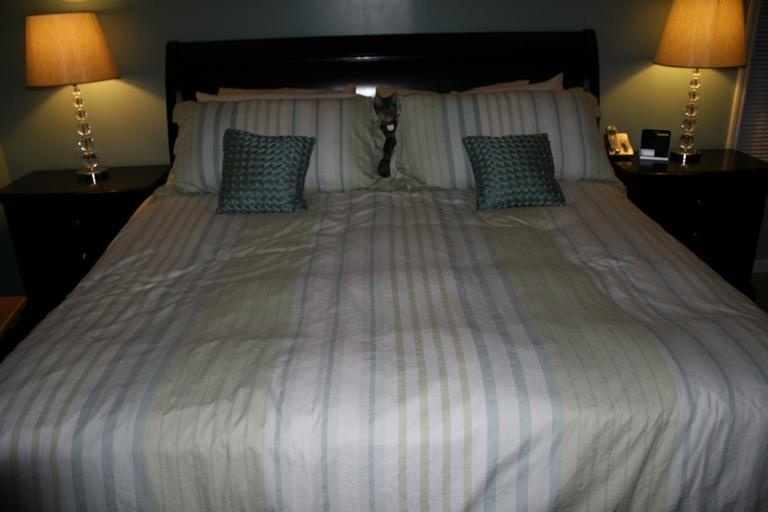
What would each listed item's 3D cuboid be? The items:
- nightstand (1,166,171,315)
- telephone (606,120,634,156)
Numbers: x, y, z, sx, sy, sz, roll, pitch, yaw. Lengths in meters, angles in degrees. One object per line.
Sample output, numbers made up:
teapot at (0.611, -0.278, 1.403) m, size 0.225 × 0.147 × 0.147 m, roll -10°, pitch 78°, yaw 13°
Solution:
nightstand at (-1.614, -0.180, 3.473) m, size 1.025 × 0.961 × 0.706 m, roll -1°, pitch 19°, yaw -2°
telephone at (1.385, -0.670, 3.462) m, size 0.150 × 0.216 × 0.088 m, roll -3°, pitch -24°, yaw 10°
